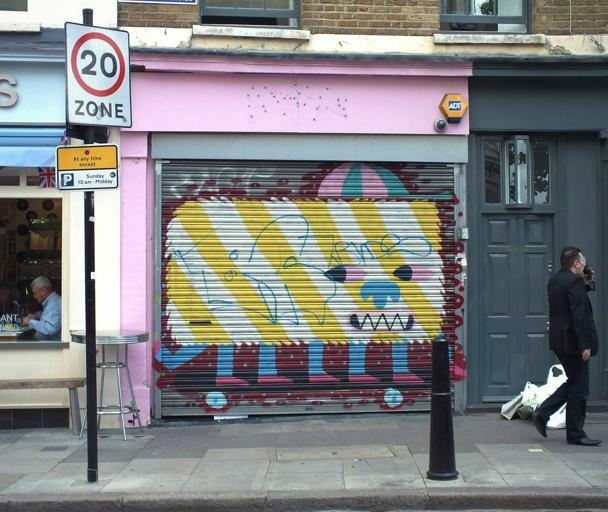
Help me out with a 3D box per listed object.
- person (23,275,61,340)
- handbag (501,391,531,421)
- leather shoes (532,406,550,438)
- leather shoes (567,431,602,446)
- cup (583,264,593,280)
[{"bbox_3d":[-3.353,0.669,15.231,0.474,0.778,0.354,6,15,30],"label":"person"},{"bbox_3d":[2.710,1.905,15.049,0.383,0.333,0.278,1,12,11],"label":"handbag"},{"bbox_3d":[2.820,1.970,14.047,0.137,0.391,0.168,-18,0,9],"label":"leather shoes"},{"bbox_3d":[3.292,2.147,13.861,0.398,0.142,0.140,-1,-4,5],"label":"leather shoes"},{"bbox_3d":[3.491,0.195,14.478,0.131,0.160,0.062,11,-19,-12],"label":"cup"}]
